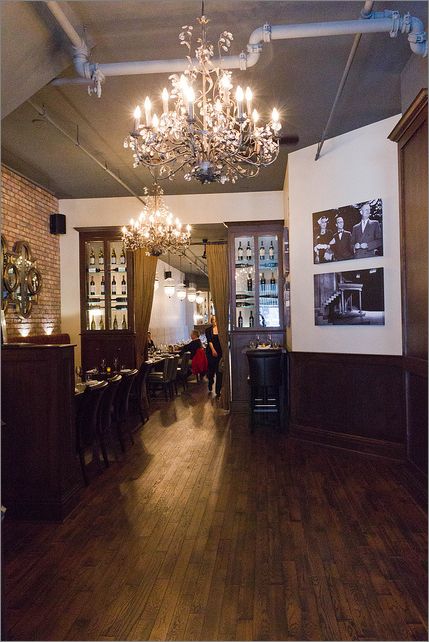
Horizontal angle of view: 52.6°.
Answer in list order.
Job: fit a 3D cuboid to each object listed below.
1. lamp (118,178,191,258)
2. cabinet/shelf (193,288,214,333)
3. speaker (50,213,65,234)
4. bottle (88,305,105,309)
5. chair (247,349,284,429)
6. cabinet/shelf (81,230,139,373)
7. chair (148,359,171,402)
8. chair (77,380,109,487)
[{"bbox_3d":[-0.847,-1.498,6.217,0.703,1.248,0.831,-7,-10,18],"label":"lamp"},{"bbox_3d":[-0.687,-0.589,19.784,0.520,1.959,0.985,15,2,4],"label":"cabinet/shelf"},{"bbox_3d":[-2.703,-1.685,7.461,0.118,0.481,0.308,-2,-1,17],"label":"speaker"},{"bbox_3d":[-2.053,-0.258,7.555,0.142,0.050,0.090,2,0,-5],"label":"bottle"},{"bbox_3d":[0.730,0.946,6.275,0.461,1.096,1.063,-1,-1,7],"label":"chair"},{"bbox_3d":[-1.947,-0.350,7.866,0.934,0.565,3.527,-4,-47,-18],"label":"cabinet/shelf"},{"bbox_3d":[-1.102,1.156,8.660,0.569,0.955,0.602,6,-6,-31],"label":"chair"},{"bbox_3d":[-1.182,1.073,4.178,0.215,0.926,0.401,-1,-1,2],"label":"chair"}]
